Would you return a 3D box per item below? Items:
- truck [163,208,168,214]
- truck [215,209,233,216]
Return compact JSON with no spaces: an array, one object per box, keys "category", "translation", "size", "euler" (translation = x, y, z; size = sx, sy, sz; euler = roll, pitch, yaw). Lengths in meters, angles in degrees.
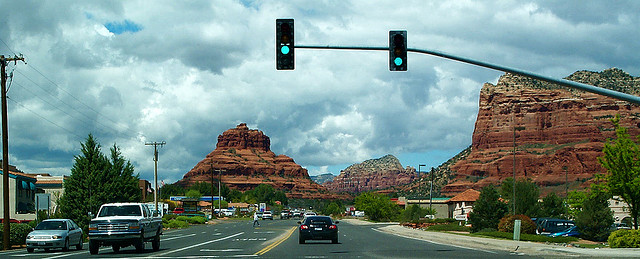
[{"category":"truck","translation":[-70.196,36.817,349.633],"size":[2.647,2.069,1.644],"euler":[-1,-6,1]},{"category":"truck","translation":[-50.384,44.696,413.170],"size":[6.244,2.608,4.089],"euler":[-4,-7,33]}]
